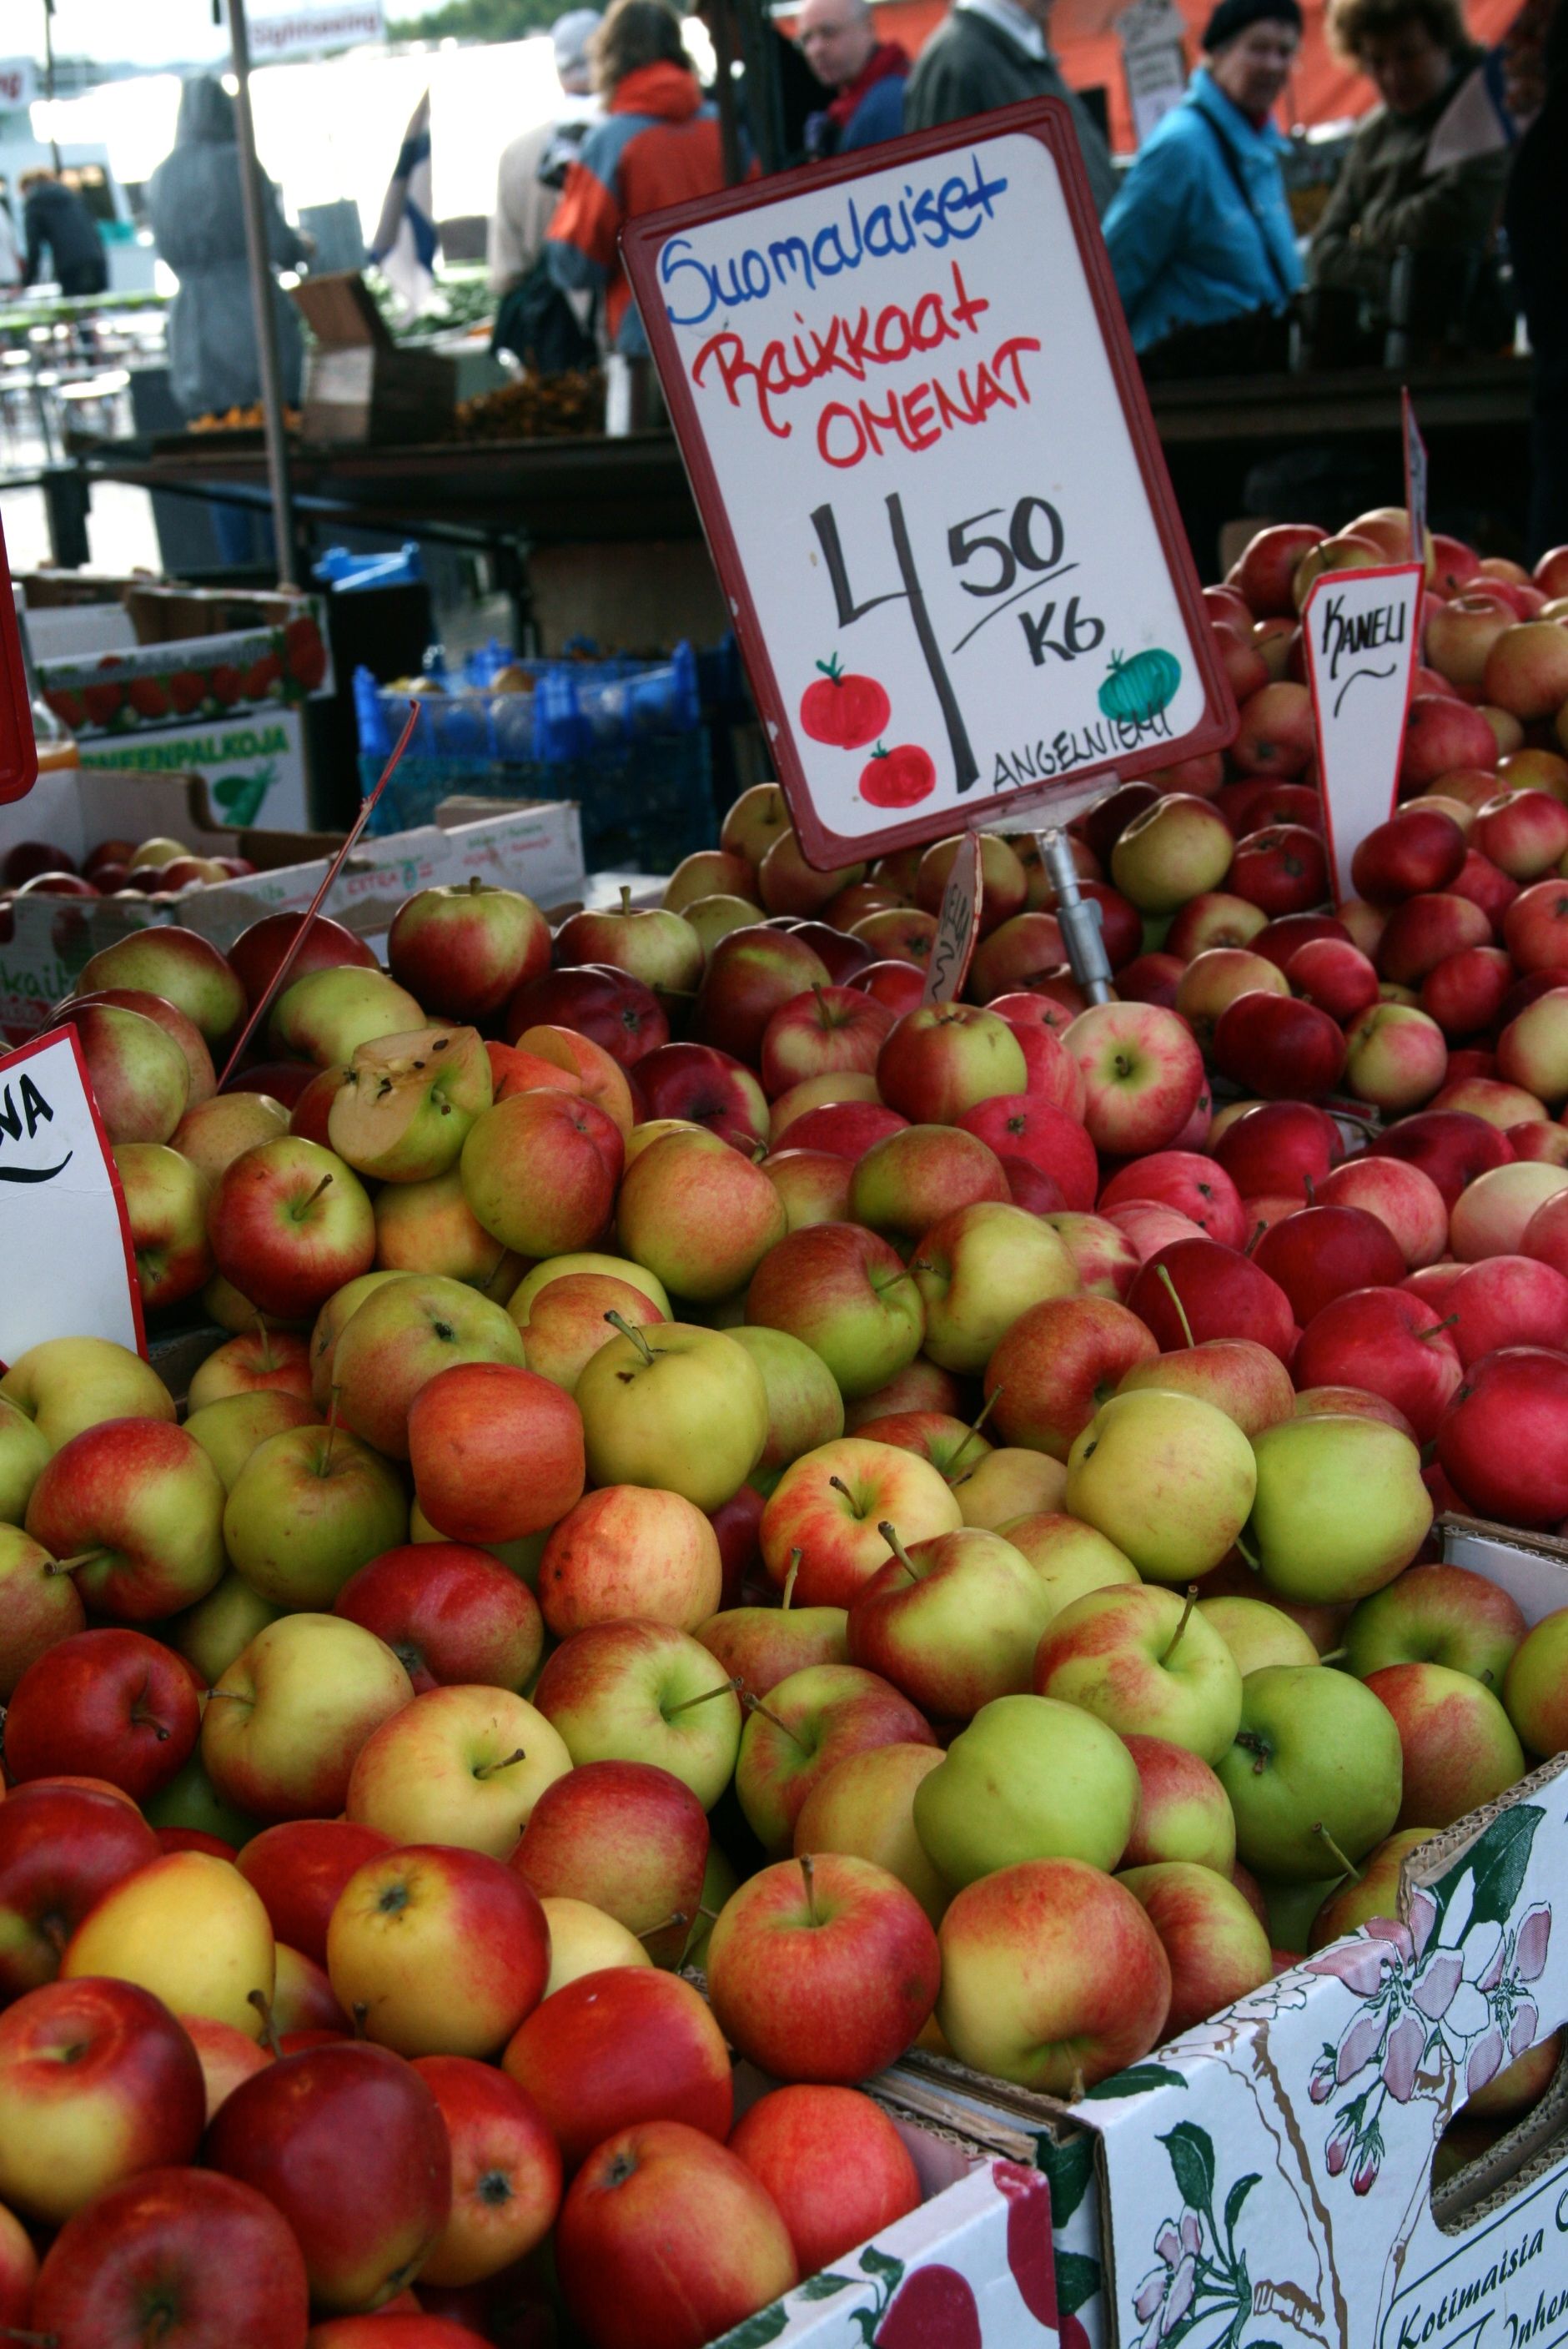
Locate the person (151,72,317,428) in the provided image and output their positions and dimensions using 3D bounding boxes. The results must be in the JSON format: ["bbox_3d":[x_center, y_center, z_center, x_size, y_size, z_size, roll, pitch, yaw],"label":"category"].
[{"bbox_3d":[-2.688,-4.283,8.301,0.429,1.300,1.072,-19,20,-20],"label":"person"}]
